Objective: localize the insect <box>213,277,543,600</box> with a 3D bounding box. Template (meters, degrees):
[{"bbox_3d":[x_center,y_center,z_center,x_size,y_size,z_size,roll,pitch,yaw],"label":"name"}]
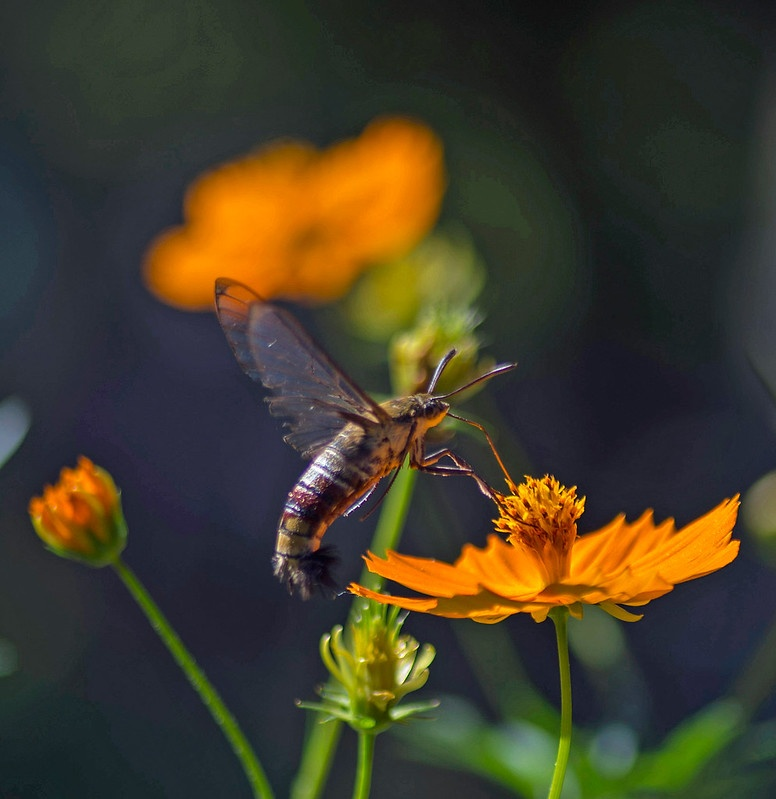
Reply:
[{"bbox_3d":[-0.026,0.030,0.689,0.182,0.153,0.168,-6,11,43],"label":"insect"}]

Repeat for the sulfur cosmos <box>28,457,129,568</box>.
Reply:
[{"bbox_3d":[-0.174,0.070,0.661,0.066,0.053,0.023,39,-13,31],"label":"sulfur cosmos"}]

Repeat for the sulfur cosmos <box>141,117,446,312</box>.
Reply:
[{"bbox_3d":[-0.057,-0.133,0.814,0.230,0.104,0.033,-16,-19,-18],"label":"sulfur cosmos"}]

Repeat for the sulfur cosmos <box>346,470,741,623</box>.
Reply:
[{"bbox_3d":[0.099,0.097,0.663,0.138,0.061,0.136,-5,-1,-9],"label":"sulfur cosmos"}]

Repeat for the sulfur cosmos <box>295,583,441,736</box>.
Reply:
[{"bbox_3d":[-0.014,0.135,0.624,0.077,0.067,0.075,0,3,-10],"label":"sulfur cosmos"}]
